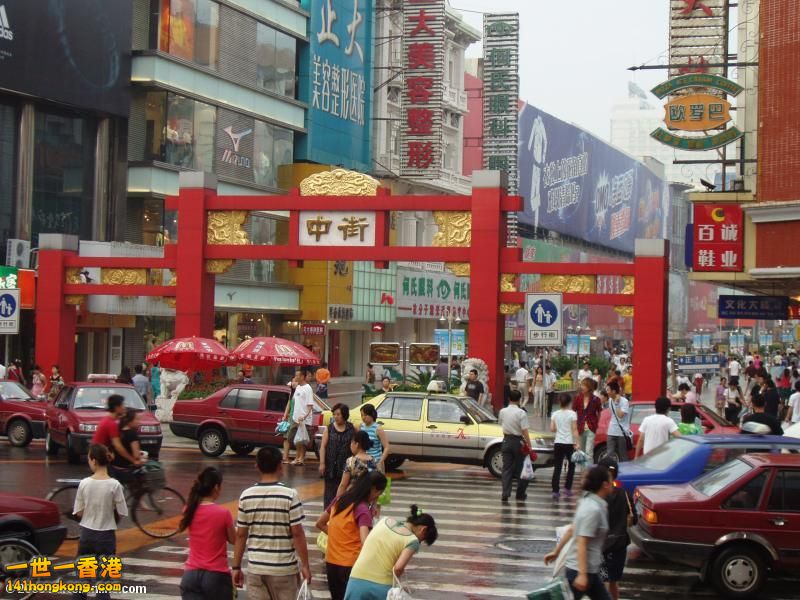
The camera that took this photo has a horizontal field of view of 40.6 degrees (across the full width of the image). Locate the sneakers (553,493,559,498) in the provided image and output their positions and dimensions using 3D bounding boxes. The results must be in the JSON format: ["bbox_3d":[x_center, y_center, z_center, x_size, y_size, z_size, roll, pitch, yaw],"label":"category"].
[{"bbox_3d":[3.112,3.918,21.793,0.111,0.083,0.090,-1,0,22],"label":"sneakers"}]

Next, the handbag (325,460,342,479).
[{"bbox_3d":[-1.063,2.668,17.014,0.231,0.229,0.063,5,2,23],"label":"handbag"}]

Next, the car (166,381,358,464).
[{"bbox_3d":[-3.927,3.117,27.616,3.579,1.488,1.884,-3,-4,14],"label":"car"}]

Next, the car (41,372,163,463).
[{"bbox_3d":[-7.495,2.857,26.400,2.023,1.581,3.510,2,-7,-28],"label":"car"}]

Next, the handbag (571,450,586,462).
[{"bbox_3d":[3.397,2.934,20.648,0.227,0.122,0.284,2,-20,3],"label":"handbag"}]

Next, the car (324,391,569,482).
[{"bbox_3d":[1.132,3.044,25.054,4.288,1.615,2.091,-2,-3,12],"label":"car"}]

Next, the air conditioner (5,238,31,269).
[{"bbox_3d":[-13.762,-1.660,38.647,0.371,1.094,1.150,-4,-7,27],"label":"air conditioner"}]
